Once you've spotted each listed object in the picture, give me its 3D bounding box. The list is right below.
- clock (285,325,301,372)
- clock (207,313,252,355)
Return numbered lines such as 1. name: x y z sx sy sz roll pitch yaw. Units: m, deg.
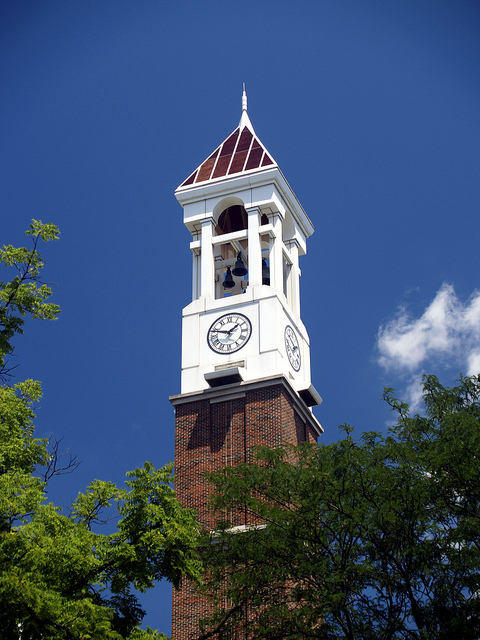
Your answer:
1. clock: 1.767 1.030 53.836 0.122 1.203 1.119 -15 -25 17
2. clock: -0.187 0.543 53.027 1.131 1.263 0.086 -19 -49 22
